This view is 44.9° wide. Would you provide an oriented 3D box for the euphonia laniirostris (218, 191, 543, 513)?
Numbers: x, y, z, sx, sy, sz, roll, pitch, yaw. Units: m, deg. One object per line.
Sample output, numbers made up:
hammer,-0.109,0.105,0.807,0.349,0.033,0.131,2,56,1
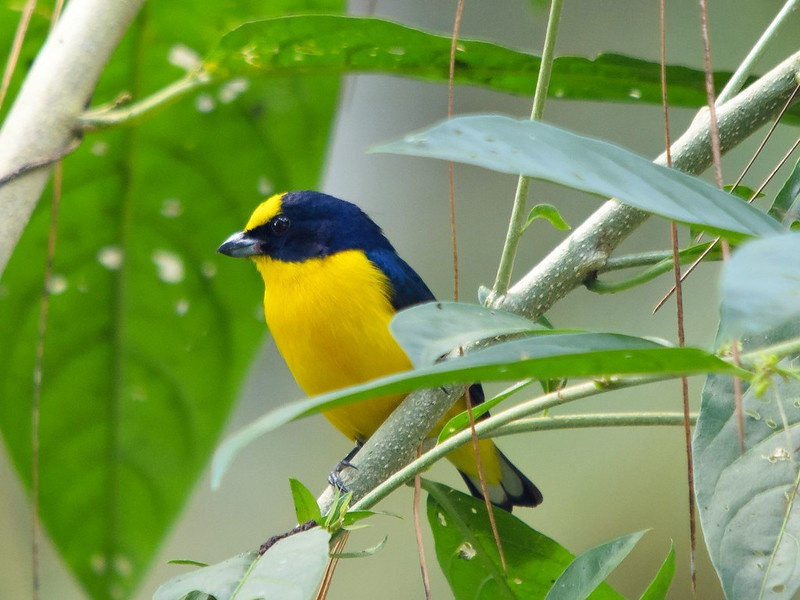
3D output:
euphonia laniirostris,-0.050,0.123,2.295,0.800,0.653,0.396,17,-36,-39
